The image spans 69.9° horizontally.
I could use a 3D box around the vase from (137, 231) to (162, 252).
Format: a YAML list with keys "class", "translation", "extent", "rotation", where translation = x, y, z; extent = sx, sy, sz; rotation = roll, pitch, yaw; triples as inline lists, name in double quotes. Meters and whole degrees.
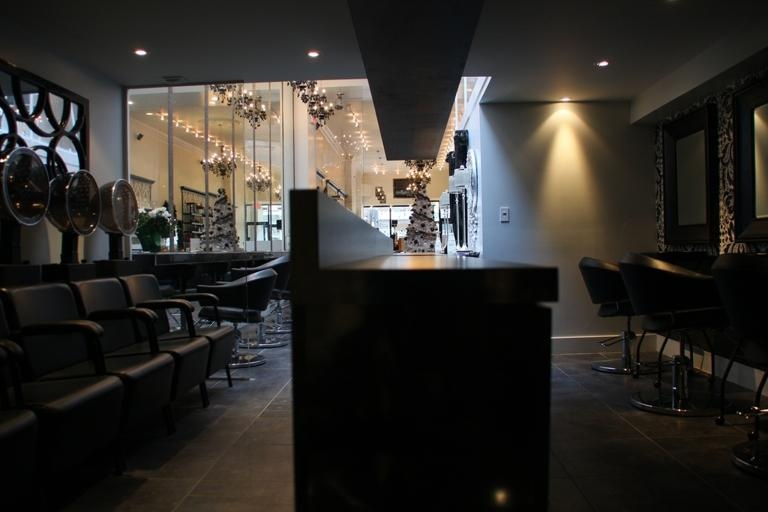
- class: "vase"
  translation: [-2.682, -0.164, 6.234]
  extent: [0.214, 0.182, 0.223]
  rotation: [-1, -8, -10]

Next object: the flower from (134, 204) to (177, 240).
- class: "flower"
  translation: [-2.604, -0.395, 6.351]
  extent: [0.369, 0.378, 0.369]
  rotation: [-2, 7, 11]
